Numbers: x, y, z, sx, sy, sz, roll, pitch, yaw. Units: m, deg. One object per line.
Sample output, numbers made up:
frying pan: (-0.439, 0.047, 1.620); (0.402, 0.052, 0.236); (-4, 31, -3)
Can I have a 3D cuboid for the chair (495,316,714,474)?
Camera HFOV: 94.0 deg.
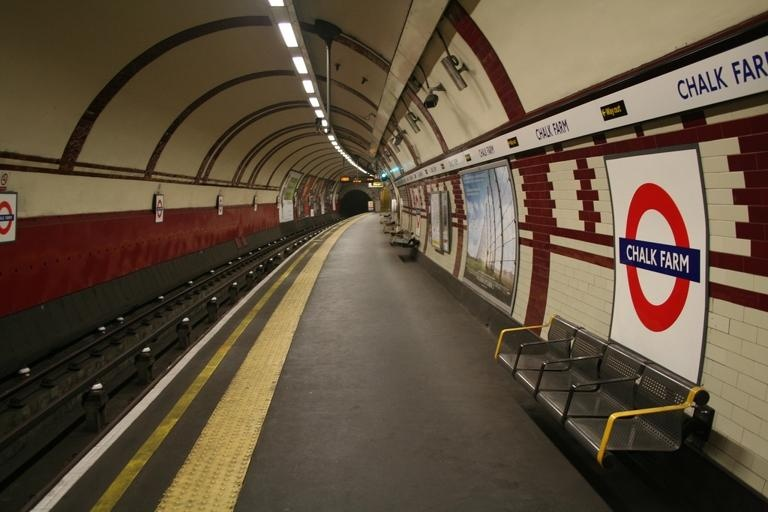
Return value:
chair: (2.441, 1.588, 4.211); (1.104, 0.676, 2.559); (-13, 15, -4)
